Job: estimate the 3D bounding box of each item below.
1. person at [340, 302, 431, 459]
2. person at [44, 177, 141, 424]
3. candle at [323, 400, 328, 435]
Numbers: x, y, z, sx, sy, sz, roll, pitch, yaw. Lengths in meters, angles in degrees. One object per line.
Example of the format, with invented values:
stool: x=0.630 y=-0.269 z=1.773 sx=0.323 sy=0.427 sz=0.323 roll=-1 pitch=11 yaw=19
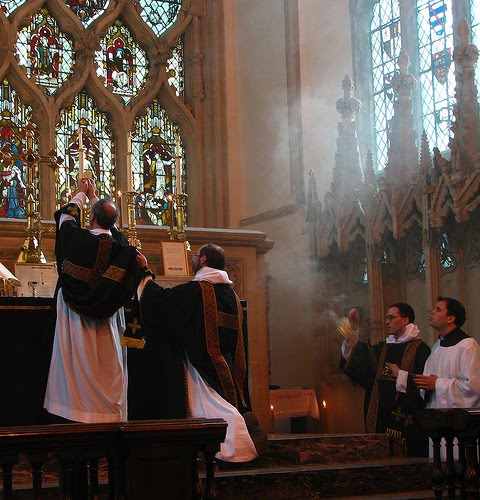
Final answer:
person: x=1.276 y=1.182 z=9.425 sx=0.664 sy=1.507 sz=0.437 roll=8 pitch=33 yaw=15
person: x=-1.039 y=0.332 z=7.579 sx=0.683 sy=1.785 sz=0.521 roll=-1 pitch=-4 yaw=-9
candle: x=0.935 y=1.817 z=11.616 sx=0.051 sy=0.348 sz=0.085 roll=-1 pitch=-4 yaw=-10
